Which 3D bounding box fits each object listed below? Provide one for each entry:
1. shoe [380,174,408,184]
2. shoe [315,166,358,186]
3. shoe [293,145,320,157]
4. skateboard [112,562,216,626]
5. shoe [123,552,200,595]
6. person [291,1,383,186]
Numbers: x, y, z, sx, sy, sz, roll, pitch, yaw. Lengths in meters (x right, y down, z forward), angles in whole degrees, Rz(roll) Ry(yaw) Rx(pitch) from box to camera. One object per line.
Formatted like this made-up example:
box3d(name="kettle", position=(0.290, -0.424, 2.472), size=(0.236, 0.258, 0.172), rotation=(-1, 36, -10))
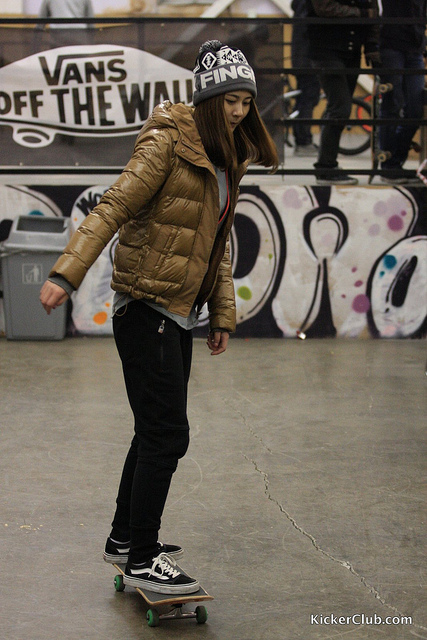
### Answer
box3d(name="shoe", position=(1.950, -1.512, 9.475), size=(0.246, 0.102, 0.107), rotation=(3, 8, 7))
box3d(name="shoe", position=(1.314, -1.536, 9.422), size=(0.438, 0.188, 0.159), rotation=(-1, 15, -3))
box3d(name="shoe", position=(0.996, -1.830, 9.517), size=(0.271, 0.130, 0.075), rotation=(1, 8, 3))
box3d(name="skateboard", position=(-0.194, 0.983, 3.227), size=(0.270, 0.121, 0.460), rotation=(-3, 9, -24))
box3d(name="shoe", position=(-0.194, 0.900, 3.153), size=(0.300, 0.117, 0.112), rotation=(3, -6, 25))
box3d(name="person", position=(1.302, -2.422, 9.413), size=(0.956, 1.950, 0.457), rotation=(2, 8, 9))
